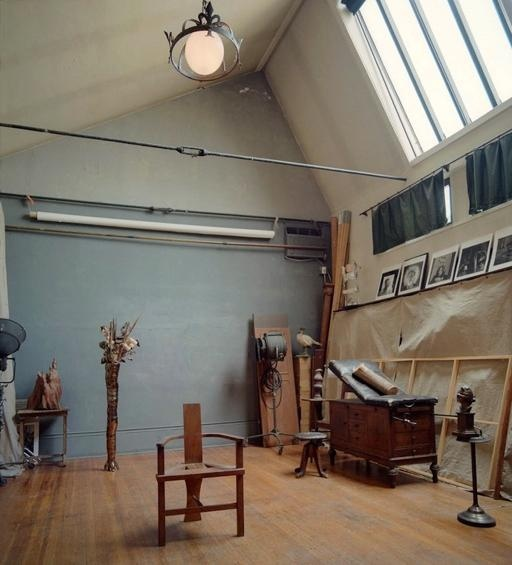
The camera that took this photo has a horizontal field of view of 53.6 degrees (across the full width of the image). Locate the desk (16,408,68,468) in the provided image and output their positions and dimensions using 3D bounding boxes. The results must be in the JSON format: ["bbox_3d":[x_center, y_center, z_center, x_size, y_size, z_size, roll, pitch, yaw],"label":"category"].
[{"bbox_3d":[-2.707,1.827,6.290,0.788,0.822,0.664,1,-8,-20],"label":"desk"}]

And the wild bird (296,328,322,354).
[{"bbox_3d":[0.819,0.925,8.089,0.388,0.412,0.783,-2,-7,4],"label":"wild bird"}]

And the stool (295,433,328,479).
[{"bbox_3d":[0.589,1.863,5.630,0.353,0.444,0.778,-2,-7,5],"label":"stool"}]
